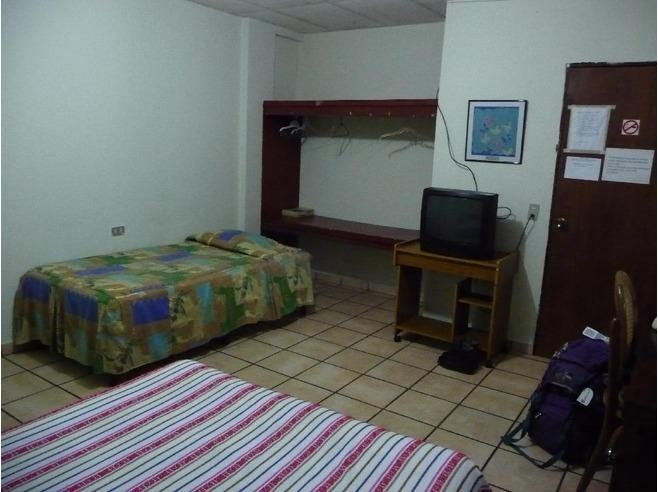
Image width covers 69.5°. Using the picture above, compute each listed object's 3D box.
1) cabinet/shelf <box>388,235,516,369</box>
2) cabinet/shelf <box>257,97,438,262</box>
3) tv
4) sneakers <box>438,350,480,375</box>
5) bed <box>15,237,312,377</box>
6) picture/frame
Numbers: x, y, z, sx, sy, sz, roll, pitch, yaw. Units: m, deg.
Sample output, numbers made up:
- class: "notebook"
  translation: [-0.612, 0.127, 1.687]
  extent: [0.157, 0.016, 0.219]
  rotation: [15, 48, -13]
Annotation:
- class: "cabinet/shelf"
  translation: [1.131, 0.470, 4.381]
  extent: [0.965, 0.932, 0.680]
  rotation: [8, 6, 36]
- class: "cabinet/shelf"
  translation: [0.231, -0.805, 5.468]
  extent: [1.818, 1.675, 0.660]
  rotation: [10, 14, 29]
- class: "tv"
  translation: [1.156, -0.223, 4.214]
  extent: [0.632, 0.577, 0.366]
  rotation: [11, 18, 35]
- class: "sneakers"
  translation: [1.083, 0.970, 4.014]
  extent: [0.231, 0.084, 0.236]
  rotation: [4, 9, 38]
- class: "bed"
  translation: [-1.293, 0.385, 4.102]
  extent: [1.095, 0.548, 1.722]
  rotation: [14, 20, 39]
- class: "picture/frame"
  translation: [1.510, -1.028, 4.215]
  extent: [0.568, 0.595, 0.042]
  rotation: [11, 13, 31]
